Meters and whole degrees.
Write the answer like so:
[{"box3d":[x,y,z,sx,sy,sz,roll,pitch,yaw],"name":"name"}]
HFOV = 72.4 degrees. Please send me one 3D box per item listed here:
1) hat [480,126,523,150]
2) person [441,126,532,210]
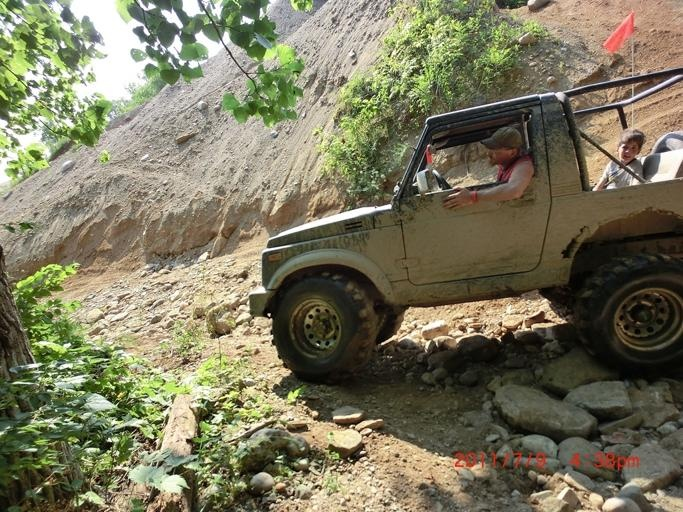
[{"box3d":[1.732,-1.260,4.984,0.365,0.156,0.230,3,18,4],"name":"hat"},{"box3d":[1.680,-1.002,5.166,0.991,0.844,1.183,-4,22,6],"name":"person"}]
